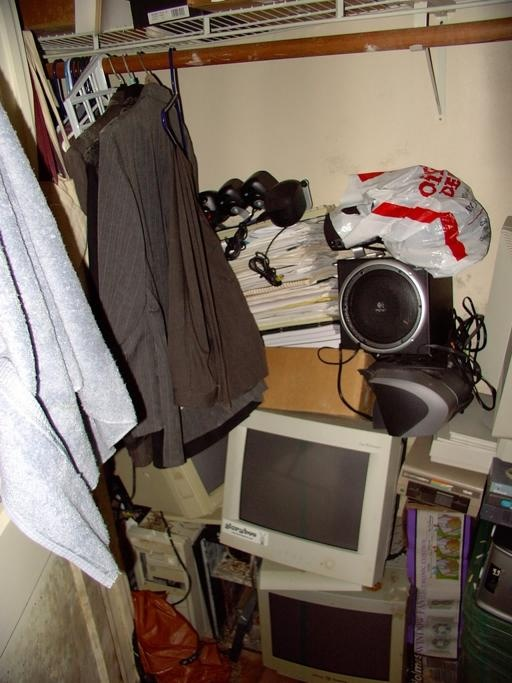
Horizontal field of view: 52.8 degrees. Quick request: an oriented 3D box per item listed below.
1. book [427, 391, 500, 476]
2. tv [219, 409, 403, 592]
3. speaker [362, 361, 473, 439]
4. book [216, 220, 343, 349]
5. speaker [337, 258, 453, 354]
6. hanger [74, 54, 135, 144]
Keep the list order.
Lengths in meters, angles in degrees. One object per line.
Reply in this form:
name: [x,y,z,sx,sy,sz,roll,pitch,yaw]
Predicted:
book: [0.546,0.229,1.317,0.147,0.049,0.148,3,57,34]
tv: [0.127,0.389,1.386,0.459,0.392,0.233,8,32,24]
speaker: [0.363,0.129,1.282,0.268,0.131,0.363,14,6,32]
book: [0.095,-0.134,1.331,0.321,0.324,0.099,-10,0,12]
speaker: [0.334,-0.057,1.229,0.215,0.203,0.232,-4,-4,36]
hanger: [-0.433,-0.629,1.423,0.150,0.197,0.142,-21,41,-16]
